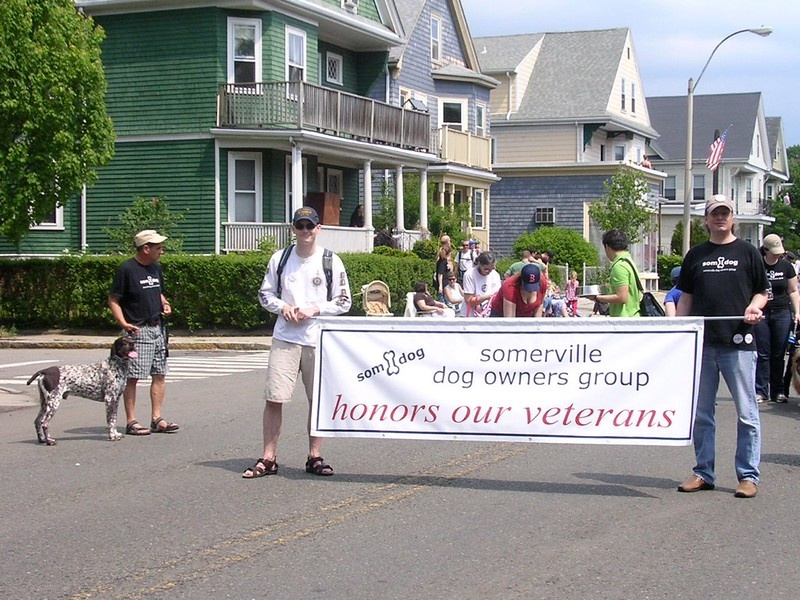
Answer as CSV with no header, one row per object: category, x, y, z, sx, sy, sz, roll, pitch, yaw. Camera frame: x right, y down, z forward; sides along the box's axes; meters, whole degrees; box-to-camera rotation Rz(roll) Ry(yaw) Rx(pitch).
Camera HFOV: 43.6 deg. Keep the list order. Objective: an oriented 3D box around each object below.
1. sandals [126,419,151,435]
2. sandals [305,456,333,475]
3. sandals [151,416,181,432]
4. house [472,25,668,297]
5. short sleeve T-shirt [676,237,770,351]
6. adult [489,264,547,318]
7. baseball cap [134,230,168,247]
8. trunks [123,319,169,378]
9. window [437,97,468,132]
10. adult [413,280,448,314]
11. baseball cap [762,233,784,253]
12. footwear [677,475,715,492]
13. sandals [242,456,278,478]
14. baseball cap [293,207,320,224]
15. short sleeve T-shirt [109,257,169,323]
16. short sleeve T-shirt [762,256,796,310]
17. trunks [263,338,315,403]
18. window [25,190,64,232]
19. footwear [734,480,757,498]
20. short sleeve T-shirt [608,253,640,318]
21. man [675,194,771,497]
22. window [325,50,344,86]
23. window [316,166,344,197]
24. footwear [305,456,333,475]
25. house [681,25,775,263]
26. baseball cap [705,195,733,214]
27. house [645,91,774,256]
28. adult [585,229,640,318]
sandals,-3.258,1.583,12.474,0.338,0.147,0.138,-4,-2,38
sandals,-0.859,1.738,10.513,0.137,0.122,0.287,1,-5,-35
sandals,-2.942,1.560,12.602,0.337,0.167,0.156,0,2,10
house,8.207,-7.374,52.779,10.448,13.500,9.649,5,4,41
short sleeve T-shirt,3.185,-0.064,9.892,0.829,1.077,0.350,3,7,22
adult,1.422,-0.107,12.309,0.717,0.713,0.627,4,8,24
baseball cap,-3.141,-0.779,12.533,0.431,0.190,0.322,-9,13,-21
trunks,-3.179,0.585,12.691,0.494,0.948,0.762,-2,-2,21
window,2.121,-7.634,41.060,1.654,2.170,0.091,-2,2,-18
adult,0.635,-0.044,20.581,0.670,0.777,1.361,1,8,3
baseball cap,5.540,-0.868,14.938,0.251,0.213,0.396,-19,25,-14
footwear,2.924,1.815,9.982,0.391,0.178,0.150,1,-1,-19
sandals,-1.452,1.738,10.411,0.351,0.168,0.160,4,-6,-32
baseball cap,-0.975,-0.870,10.358,0.233,0.155,0.438,-1,8,-8
short sleeve T-shirt,-3.229,-0.099,12.624,0.405,0.829,0.770,6,6,39
short sleeve T-shirt,5.285,-0.215,13.952,0.684,0.765,0.407,-2,0,37
trunks,-1.153,0.724,10.322,0.514,0.648,0.305,-5,9,-38
window,-9.164,-2.313,25.858,0.939,1.232,0.088,2,-5,13
footwear,3.395,1.835,9.811,0.259,0.152,0.162,0,8,-2
short sleeve T-shirt,2.730,-0.160,12.222,0.392,1.028,0.757,1,2,22
man,3.129,0.435,9.846,0.907,2.982,0.861,-1,-3,39
window,-2.244,-7.849,33.882,0.102,1.427,1.264,-4,3,26
window,-2.369,-3.968,33.382,0.123,0.848,1.334,-2,-2,21
footwear,-0.835,1.731,10.481,0.137,0.122,0.287,1,-5,-35
house,15.790,-6.780,48.745,4.010,1.372,12.753,10,-19,25
baseball cap,3.135,-0.946,9.860,0.179,0.151,0.270,0,-4,18
house,21.620,-8.027,70.680,8.457,11.540,11.495,4,5,32
adult,2.676,-0.302,12.274,0.562,1.116,1.075,2,8,14
